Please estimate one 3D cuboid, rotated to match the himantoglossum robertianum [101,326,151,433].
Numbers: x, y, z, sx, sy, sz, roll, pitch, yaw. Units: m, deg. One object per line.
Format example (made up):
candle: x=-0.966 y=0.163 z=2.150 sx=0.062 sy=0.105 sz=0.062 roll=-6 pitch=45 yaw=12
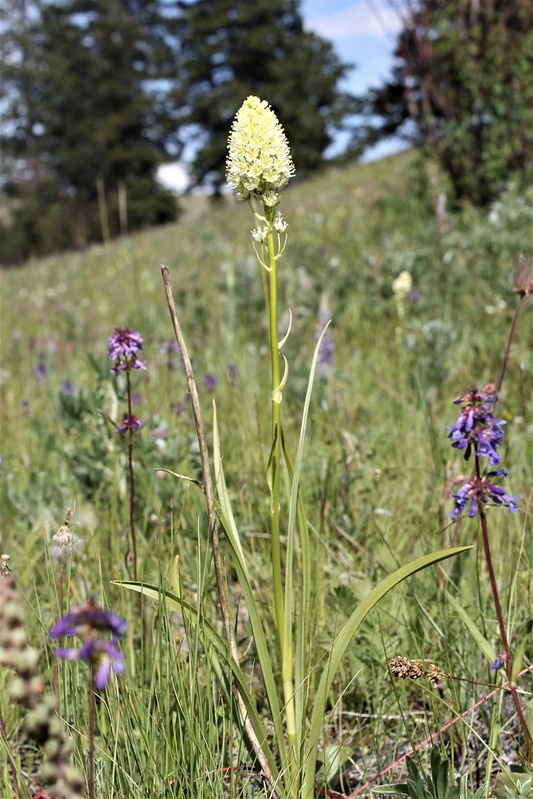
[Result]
himantoglossum robertianum: x=-0.325 y=-0.095 z=2.284 sx=0.095 sy=0.353 sz=0.101 roll=-1 pitch=2 yaw=-25
